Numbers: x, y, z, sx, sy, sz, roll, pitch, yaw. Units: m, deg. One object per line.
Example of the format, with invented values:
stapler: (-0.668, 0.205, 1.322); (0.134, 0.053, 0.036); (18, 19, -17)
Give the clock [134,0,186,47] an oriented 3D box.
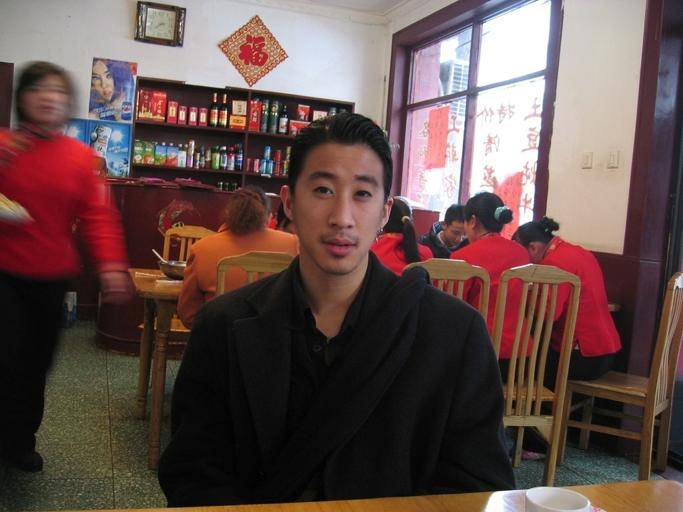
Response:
clock: (-1.999, -2.546, 5.719); (0.496, 0.442, 0.058); (2, 7, -20)
